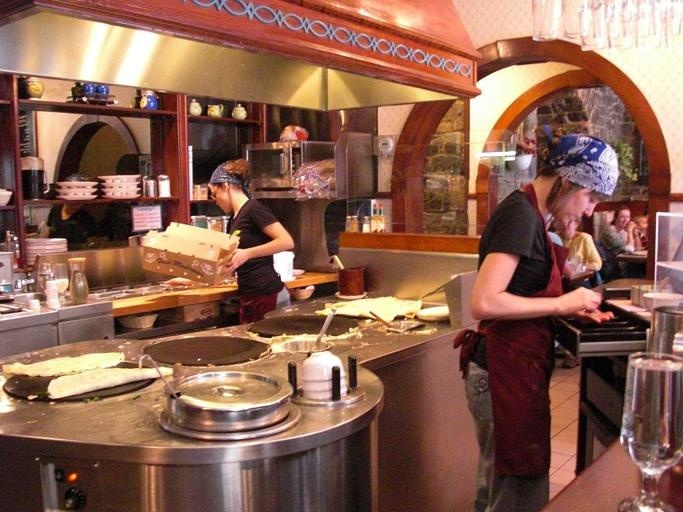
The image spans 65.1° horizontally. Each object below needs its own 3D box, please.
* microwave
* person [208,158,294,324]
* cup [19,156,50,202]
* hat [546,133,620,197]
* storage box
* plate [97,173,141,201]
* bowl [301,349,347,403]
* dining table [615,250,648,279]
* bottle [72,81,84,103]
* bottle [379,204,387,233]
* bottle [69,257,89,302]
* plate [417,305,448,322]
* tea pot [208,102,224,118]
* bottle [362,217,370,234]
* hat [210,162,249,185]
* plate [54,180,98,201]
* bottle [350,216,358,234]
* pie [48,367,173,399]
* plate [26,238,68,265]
[{"bbox_3d":[-0.485,-0.836,5.060,0.780,0.415,0.504,5,8,38],"label":"microwave"},{"bbox_3d":[-0.634,-0.111,3.851,0.504,1.172,0.590,-6,7,-13],"label":"person"},{"bbox_3d":[-2.470,-0.601,4.235,0.212,0.297,0.239,0,4,8],"label":"cup"},{"bbox_3d":[0.970,-0.376,2.161,0.273,0.290,0.200,-2,7,19],"label":"hat"},{"bbox_3d":[-0.976,0.004,3.820,0.775,0.292,0.742,7,9,9],"label":"storage box"},{"bbox_3d":[-1.900,-0.594,4.653,0.269,0.118,0.266,-1,2,-8],"label":"plate"},{"bbox_3d":[-0.056,0.408,1.838,0.162,0.139,0.152,0,0,0],"label":"bowl"},{"bbox_3d":[3.659,0.111,6.741,0.310,0.329,0.931,-1,8,28],"label":"dining table"},{"bbox_3d":[-2.199,-1.358,4.443,0.149,0.161,0.073,3,10,44],"label":"bottle"},{"bbox_3d":[0.291,-0.268,3.784,0.038,0.179,0.100,-3,7,10],"label":"bottle"},{"bbox_3d":[-1.820,0.166,3.696,0.121,0.295,0.192,-8,8,-26],"label":"bottle"},{"bbox_3d":[0.487,0.301,2.869,0.172,0.102,0.190,-3,7,7],"label":"plate"},{"bbox_3d":[-1.253,-1.462,5.370,0.163,0.107,0.155,1,10,0],"label":"tea pot"},{"bbox_3d":[0.177,-0.231,3.804,0.051,0.106,0.078,-8,8,-23],"label":"bottle"},{"bbox_3d":[-0.812,-0.604,3.914,0.244,0.166,0.169,0,10,2],"label":"hat"},{"bbox_3d":[-2.224,-0.542,4.491,0.302,0.168,0.266,-7,8,-27],"label":"plate"},{"bbox_3d":[0.094,-0.235,3.863,0.051,0.108,0.074,-7,8,-22],"label":"bottle"},{"bbox_3d":[-0.840,0.433,1.908,0.346,0.037,0.198,0,8,-38],"label":"pie"},{"bbox_3d":[-2.377,-0.038,4.307,0.260,0.132,0.244,0,3,4],"label":"plate"}]
